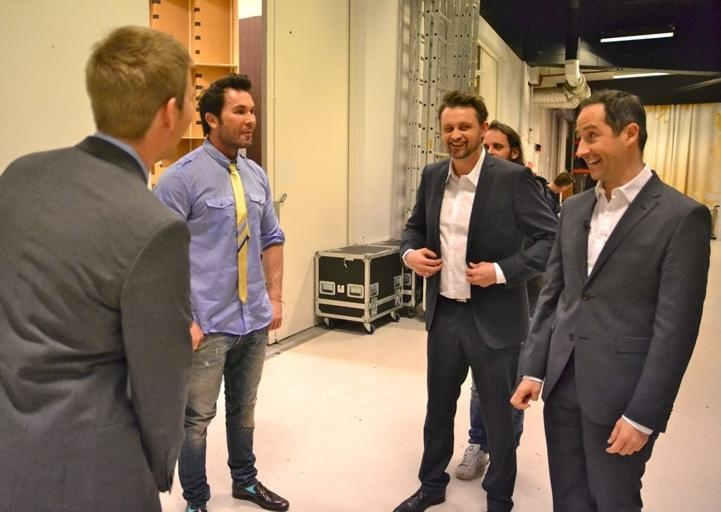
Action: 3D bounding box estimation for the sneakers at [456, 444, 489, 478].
[{"bbox_3d":[0.610,1.144,2.900,0.099,0.140,0.281,-3,-11,30],"label":"sneakers"}]
